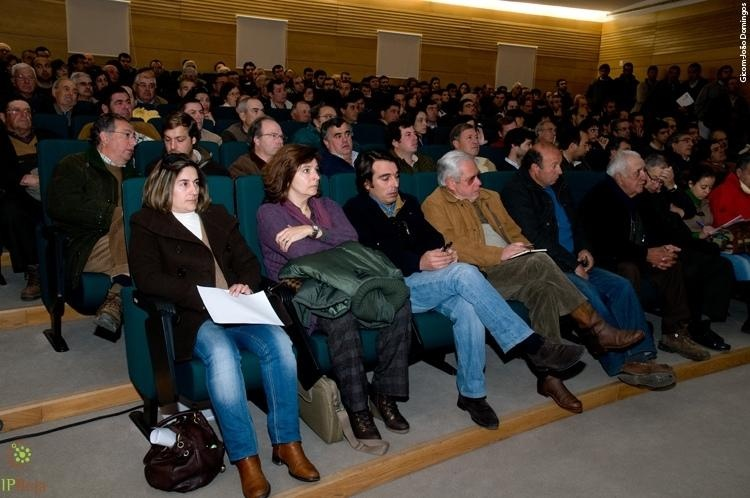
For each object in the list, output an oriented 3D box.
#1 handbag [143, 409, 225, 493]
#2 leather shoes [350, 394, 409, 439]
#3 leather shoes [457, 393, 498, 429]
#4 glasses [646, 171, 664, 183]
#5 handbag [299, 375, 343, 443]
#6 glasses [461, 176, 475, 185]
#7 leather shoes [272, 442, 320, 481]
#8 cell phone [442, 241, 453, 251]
[{"bbox_3d":[-0.935,0.920,2.457,0.377,0.347,0.344,-14,15,-29],"label":"handbag"},{"bbox_3d":[0.024,0.905,2.653,0.238,0.183,0.278,10,18,29],"label":"leather shoes"},{"bbox_3d":[0.581,0.894,2.833,0.100,0.122,0.276,-10,16,-40],"label":"leather shoes"},{"bbox_3d":[2.213,-0.561,3.944,0.130,0.123,0.041,4,-5,-2],"label":"glasses"},{"bbox_3d":[-0.274,0.826,2.616,0.135,0.268,0.307,-13,23,-34],"label":"handbag"},{"bbox_3d":[0.612,-0.438,3.213,0.054,0.052,0.017,-11,26,-22],"label":"glasses"},{"bbox_3d":[-0.368,1.003,2.463,0.310,0.144,0.116,7,6,43],"label":"leather shoes"},{"bbox_3d":[0.449,-0.015,3.081,0.030,0.045,0.132,-4,-16,15],"label":"cell phone"}]
